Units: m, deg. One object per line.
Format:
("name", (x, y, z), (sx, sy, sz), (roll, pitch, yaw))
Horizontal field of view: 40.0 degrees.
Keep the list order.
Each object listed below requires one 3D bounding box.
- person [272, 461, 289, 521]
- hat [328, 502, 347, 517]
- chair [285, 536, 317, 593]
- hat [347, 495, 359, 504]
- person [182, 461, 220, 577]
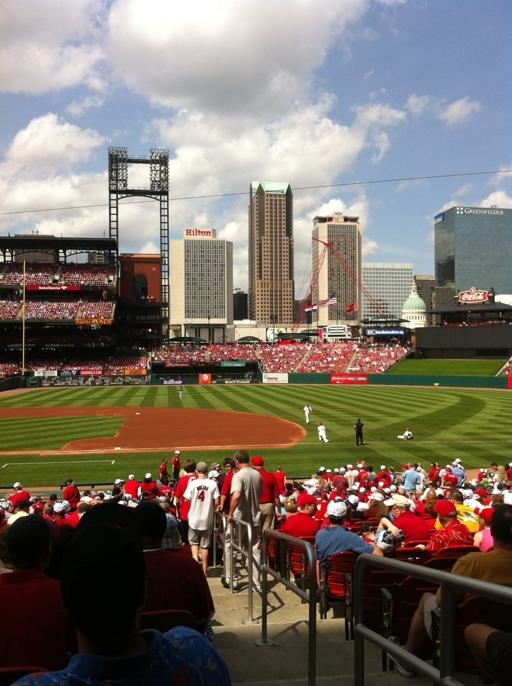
("person", (0.391, 2.808, 13.137), (0.327, 1.006, 0.296), (6, -18, -29))
("hat", (0.785, 1.621, 6.849), (0.129, 0.091, 0.182), (2, 28, 8))
("chair", (0.464, 2.391, 7.690), (0.392, 0.495, 0.378), (11, -21, -9))
("hat", (1.508, 2.459, 11.101), (0.145, 0.079, 0.154), (5, 4, 40))
("person", (-0.609, 2.186, 8.767), (0.479, 1.345, 0.510), (-5, -9, 38))
